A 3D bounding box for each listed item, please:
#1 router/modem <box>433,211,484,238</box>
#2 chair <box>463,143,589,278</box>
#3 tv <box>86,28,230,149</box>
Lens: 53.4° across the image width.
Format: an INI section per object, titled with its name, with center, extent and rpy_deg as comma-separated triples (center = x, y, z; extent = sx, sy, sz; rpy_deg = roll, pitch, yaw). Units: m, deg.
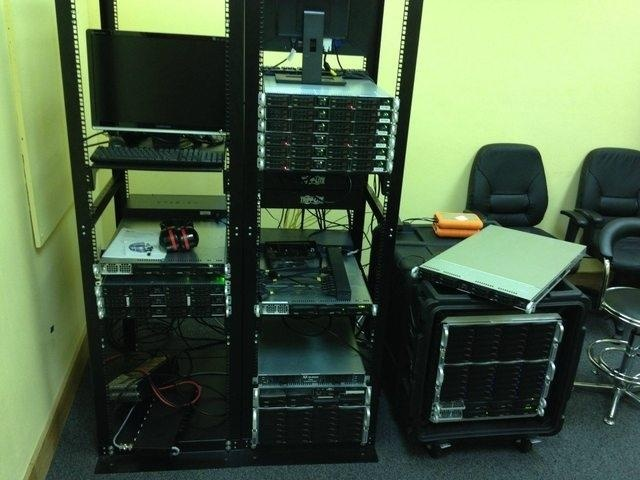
[router/modem]
center = 0.792, -0.085, 3.758
extent = 0.188, 0.067, 0.192
rpy_deg = -1, 19, 1
[chair]
center = 1.306, -0.120, 4.269
extent = 0.739, 0.938, 0.622
rpy_deg = -6, 17, -24
[tv]
center = -0.741, -0.699, 2.934
extent = 0.640, 0.433, 0.191
rpy_deg = 0, 8, -7
